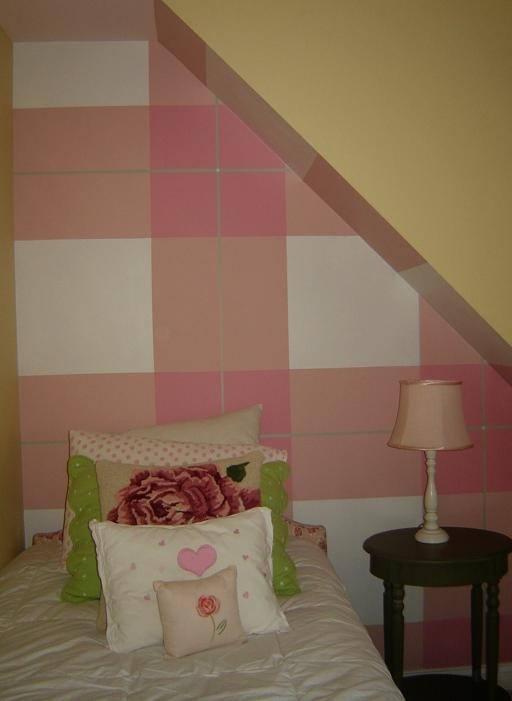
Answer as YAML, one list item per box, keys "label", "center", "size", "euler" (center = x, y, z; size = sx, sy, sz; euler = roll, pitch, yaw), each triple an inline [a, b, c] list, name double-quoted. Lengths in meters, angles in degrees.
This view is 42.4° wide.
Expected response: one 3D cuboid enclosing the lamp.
- label: "lamp"
  center: [0.598, 0.372, 2.271]
  size: [0.276, 0.542, 0.208]
  euler: [0, 5, 11]
